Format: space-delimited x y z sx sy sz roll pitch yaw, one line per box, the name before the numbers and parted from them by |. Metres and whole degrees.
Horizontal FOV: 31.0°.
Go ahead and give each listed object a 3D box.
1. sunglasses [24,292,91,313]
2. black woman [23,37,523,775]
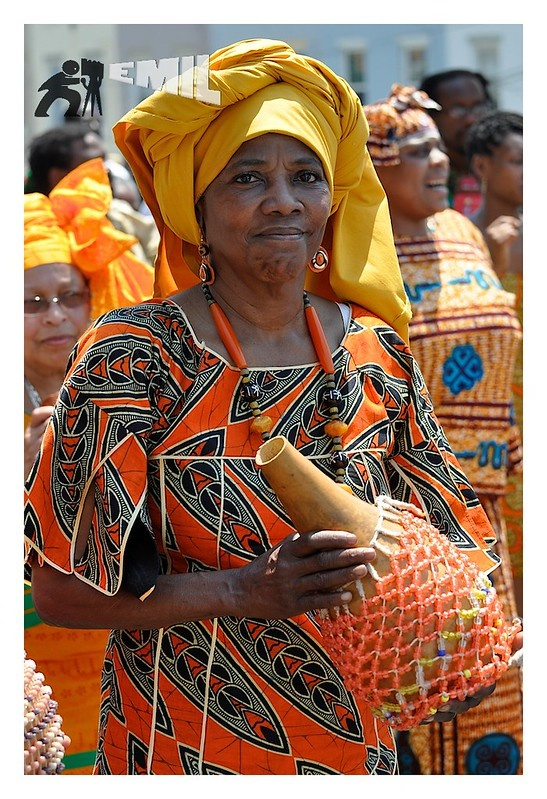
sunglasses | -0.899 -0.389 3.992 0.143 0.035 0.135 -7 -3 -34
black woman | -0.046 0.090 2.406 1.040 1.804 0.872 -1 4 -8
